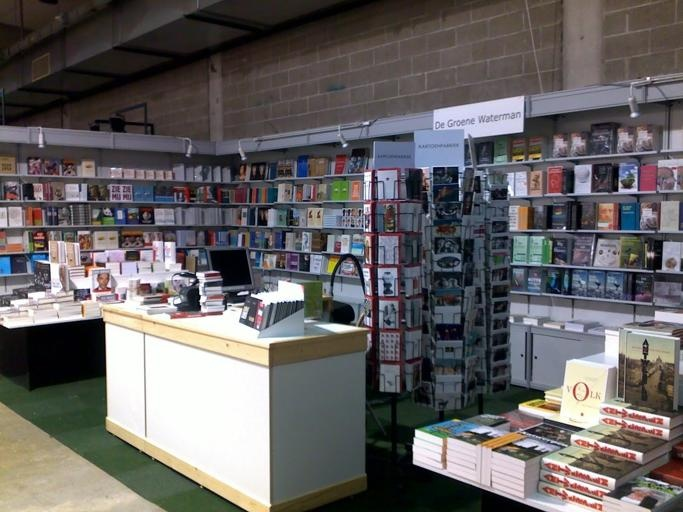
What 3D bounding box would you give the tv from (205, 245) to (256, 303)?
[{"bbox_3d":[-1.289,0.213,6.663,0.622,0.697,0.254,-3,-3,-44],"label":"tv"}]
